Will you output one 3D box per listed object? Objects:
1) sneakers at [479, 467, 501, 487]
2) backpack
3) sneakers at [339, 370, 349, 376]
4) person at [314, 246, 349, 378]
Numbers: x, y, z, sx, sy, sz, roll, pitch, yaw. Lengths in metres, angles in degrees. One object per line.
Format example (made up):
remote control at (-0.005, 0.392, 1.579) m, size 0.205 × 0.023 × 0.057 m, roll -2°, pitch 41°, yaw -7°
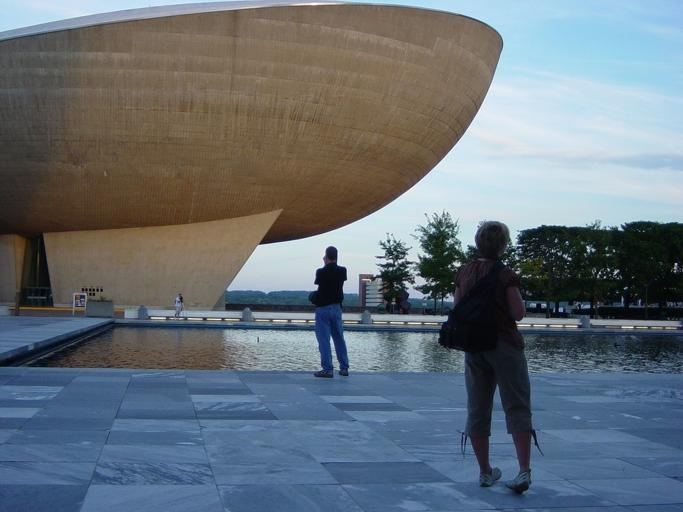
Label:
sneakers at (1.018, 1.525, 4.115) m, size 0.073 × 0.077 × 0.198 m, roll -2°, pitch 1°, yaw 27°
backpack at (0.915, 0.366, 4.232) m, size 0.439 × 0.638 × 0.214 m, roll 0°, pitch -2°, yaw 9°
sneakers at (0.026, 1.713, 8.651) m, size 0.058 × 0.072 × 0.169 m, roll 2°, pitch -8°, yaw -19°
person at (-0.169, 0.818, 8.259) m, size 0.501 × 1.833 × 0.838 m, roll 0°, pitch -2°, yaw 0°
